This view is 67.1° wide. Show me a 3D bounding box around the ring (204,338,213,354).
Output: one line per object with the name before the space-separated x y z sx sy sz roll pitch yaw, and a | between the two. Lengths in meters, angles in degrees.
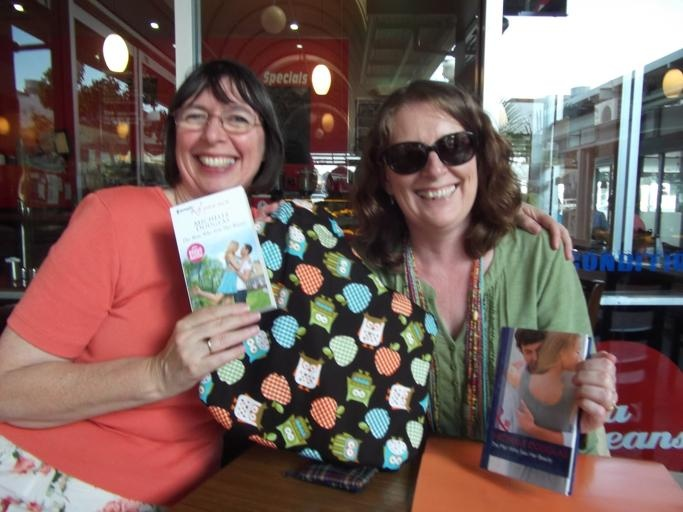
ring | -0.447 0.298 1.696 0.035 0.054 0.014 2 8 29

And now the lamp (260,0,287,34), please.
lamp | -0.727 -2.454 5.335 0.188 0.342 0.308 3 9 34

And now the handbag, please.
handbag | -0.103 0.229 1.986 1.039 1.316 0.302 12 37 25
